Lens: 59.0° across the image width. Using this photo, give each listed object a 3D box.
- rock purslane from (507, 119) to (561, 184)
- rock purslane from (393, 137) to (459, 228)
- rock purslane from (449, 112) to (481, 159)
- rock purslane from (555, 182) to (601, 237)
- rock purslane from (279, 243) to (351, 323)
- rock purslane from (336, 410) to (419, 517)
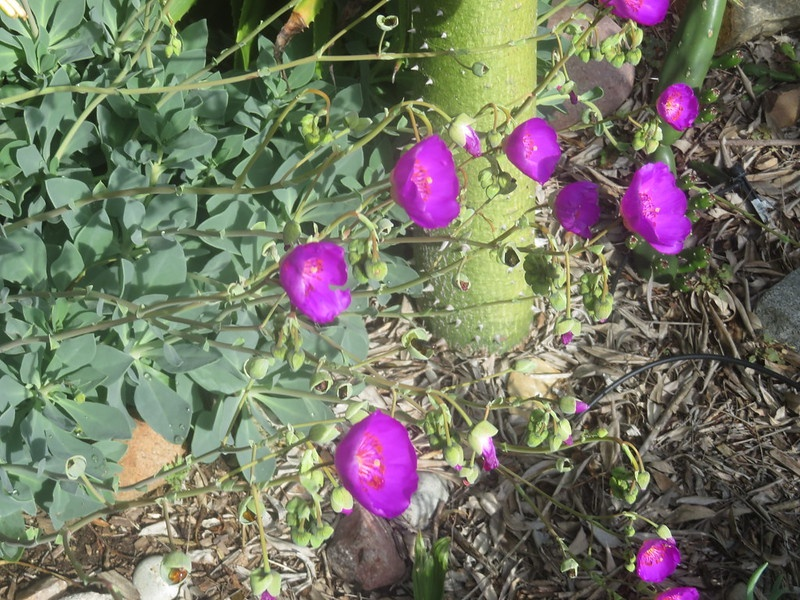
[{"bbox_3d":[0.243,-0.270,1.277,0.118,0.117,0.067,-27,55,-19],"label":"rock purslane"},{"bbox_3d":[0.035,-0.206,1.208,0.133,0.147,0.129,-5,40,-15],"label":"rock purslane"},{"bbox_3d":[0.120,-0.288,1.283,0.055,0.075,0.039,-48,15,-25],"label":"rock purslane"},{"bbox_3d":[0.318,-0.167,1.272,0.074,0.100,0.055,-12,7,1],"label":"rock purslane"},{"bbox_3d":[-0.132,-0.032,1.138,0.106,0.138,0.090,-31,29,-23],"label":"rock purslane"},{"bbox_3d":[-0.037,0.273,1.152,0.131,0.183,0.128,-15,51,-10],"label":"rock purslane"}]
